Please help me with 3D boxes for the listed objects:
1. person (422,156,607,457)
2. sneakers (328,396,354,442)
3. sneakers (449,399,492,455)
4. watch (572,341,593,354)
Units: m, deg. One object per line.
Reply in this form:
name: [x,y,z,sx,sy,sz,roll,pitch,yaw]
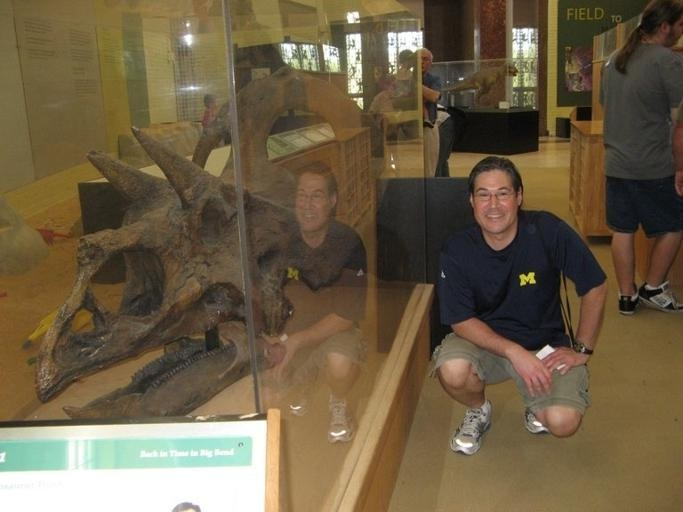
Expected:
person: [0.588,0.165,1.714,0.551,0.914,0.462,0,17,22]
sneakers: [0.003,0.316,1.014,0.044,0.053,0.121,-1,1,2]
sneakers: [0.438,0.571,1.743,0.076,0.099,0.217,8,11,24]
watch: [0.787,0.302,1.692,0.044,0.047,0.026,17,61,33]
